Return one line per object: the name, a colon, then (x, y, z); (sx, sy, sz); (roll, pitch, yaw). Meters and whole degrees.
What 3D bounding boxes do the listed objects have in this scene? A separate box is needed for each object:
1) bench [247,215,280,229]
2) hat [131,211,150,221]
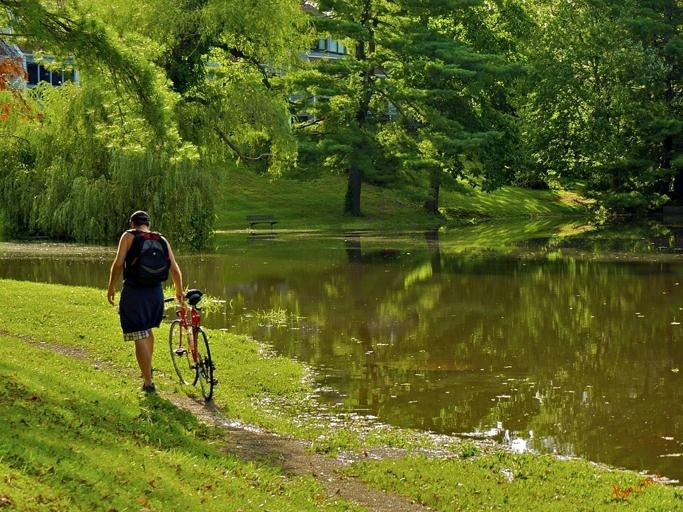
bench: (-3.928, -1.670, 51.265); (0.461, 0.442, 1.191); (-27, -12, 29)
hat: (-3.588, -0.717, 18.469); (0.260, 0.149, 0.358); (0, 5, -24)
